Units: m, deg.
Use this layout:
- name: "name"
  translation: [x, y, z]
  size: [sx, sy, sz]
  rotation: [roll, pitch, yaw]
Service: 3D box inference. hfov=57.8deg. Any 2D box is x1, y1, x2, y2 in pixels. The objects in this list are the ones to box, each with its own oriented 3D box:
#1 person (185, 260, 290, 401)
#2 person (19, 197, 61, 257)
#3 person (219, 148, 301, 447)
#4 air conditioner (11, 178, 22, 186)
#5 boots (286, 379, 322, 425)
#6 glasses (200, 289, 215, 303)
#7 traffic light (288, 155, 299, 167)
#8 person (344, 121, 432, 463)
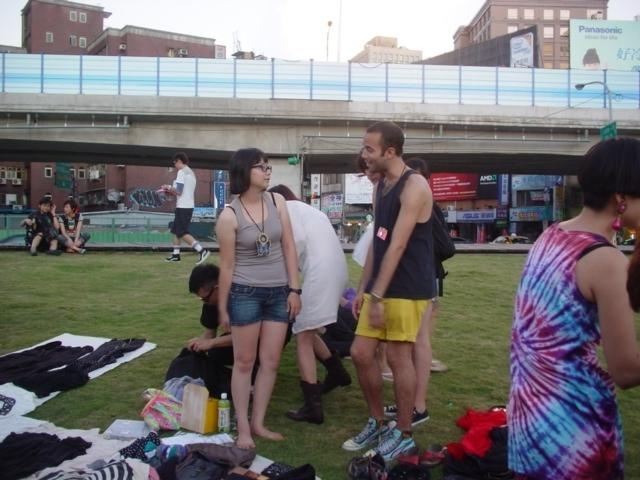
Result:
- name: "person"
  translation: [-0.730, 0.846, 5.262]
  size: [0.749, 1.422, 0.597]
  rotation: [14, -34, -29]
- name: "person"
  translation: [-7.362, -0.314, 15.280]
  size: [1.522, 1.869, 1.013]
  rotation: [7, 3, 45]
- name: "person"
  translation: [-0.513, 0.442, 5.020]
  size: [0.710, 2.461, 0.595]
  rotation: [-2, 5, -15]
- name: "air conditioner"
  translation: [-32.246, -6.183, 61.674]
  size: [1.104, 0.876, 0.616]
  rotation: [1, -3, -23]
- name: "boots"
  translation: [-0.144, 1.479, 5.325]
  size: [0.366, 0.406, 0.190]
  rotation: [-1, -4, 26]
- name: "glasses"
  translation: [-1.055, 0.538, 5.466]
  size: [0.125, 0.043, 0.124]
  rotation: [-8, -14, -32]
- name: "traffic light"
  translation: [-1.100, -3.369, 24.389]
  size: [0.423, 0.491, 0.264]
  rotation: [2, 3, 7]
- name: "person"
  translation: [0.574, 0.405, 4.749]
  size: [0.686, 2.747, 0.499]
  rotation: [0, 5, 15]
